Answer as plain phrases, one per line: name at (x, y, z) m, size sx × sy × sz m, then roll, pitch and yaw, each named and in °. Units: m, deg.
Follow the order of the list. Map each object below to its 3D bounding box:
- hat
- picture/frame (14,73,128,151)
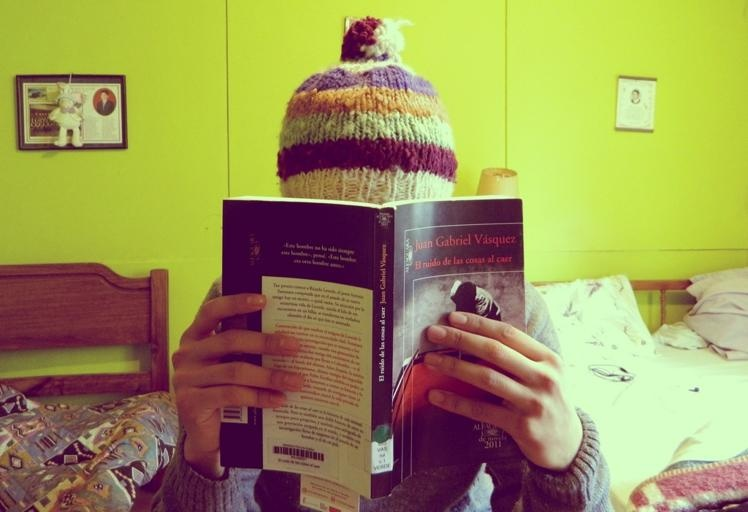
hat at (-0.037, -0.530, 2.278) m, size 0.698 × 0.597 × 0.710 m, roll 4°, pitch 10°, yaw 25°
picture/frame at (-1.662, -0.787, 3.344) m, size 0.428 × 0.316 × 0.022 m, roll -1°, pitch 0°, yaw -7°
